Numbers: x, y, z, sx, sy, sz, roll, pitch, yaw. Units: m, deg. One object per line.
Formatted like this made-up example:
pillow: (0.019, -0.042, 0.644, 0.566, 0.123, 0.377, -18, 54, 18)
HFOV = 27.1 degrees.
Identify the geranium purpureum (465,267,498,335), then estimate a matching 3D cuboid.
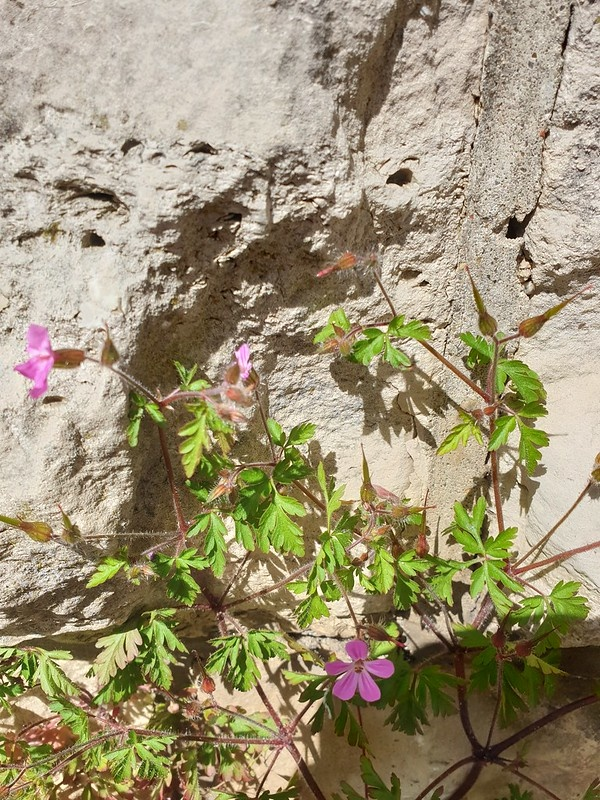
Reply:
geranium purpureum: (0.633, -0.351, 4.324, 0.072, 0.310, 0.065, -37, 45, 0)

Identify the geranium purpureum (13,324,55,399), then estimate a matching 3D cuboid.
geranium purpureum: (-0.809, -0.120, 3.819, 0.116, 0.224, 0.159, -2, 8, -4)

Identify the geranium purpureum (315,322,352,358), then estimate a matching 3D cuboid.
geranium purpureum: (0.116, -0.200, 4.276, 0.101, 0.035, 0.103, -14, 28, -5)

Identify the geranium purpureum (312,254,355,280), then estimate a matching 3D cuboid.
geranium purpureum: (0.122, -0.452, 4.227, 0.136, 0.090, 0.173, -1, 8, 1)
